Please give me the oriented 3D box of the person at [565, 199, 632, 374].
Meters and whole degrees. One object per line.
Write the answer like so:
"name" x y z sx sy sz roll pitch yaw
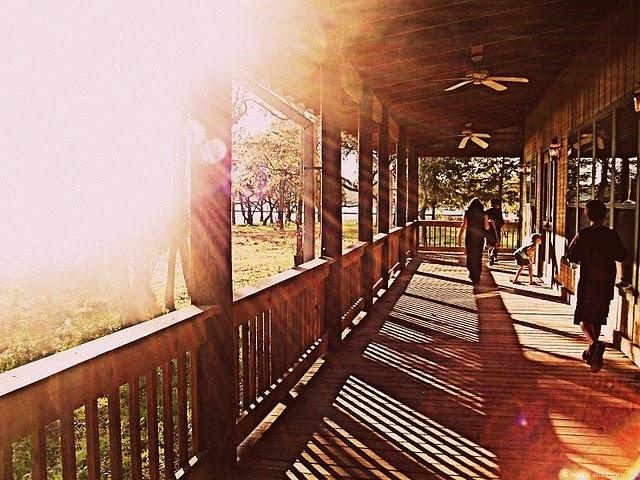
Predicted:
"person" 3.097 0.501 4.966 0.585 1.868 0.585 -6 2 10

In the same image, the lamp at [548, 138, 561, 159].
"lamp" 4.700 -1.823 8.961 0.210 0.372 0.265 -6 2 18

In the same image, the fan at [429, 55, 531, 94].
"fan" 2.751 -2.815 8.059 1.253 0.524 1.241 -3 13 -11

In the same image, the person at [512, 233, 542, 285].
"person" 4.896 0.407 10.647 0.661 1.159 2.228 -6 3 26

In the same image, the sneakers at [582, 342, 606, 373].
"sneakers" 2.915 1.232 4.849 0.146 0.434 0.272 1 -6 10

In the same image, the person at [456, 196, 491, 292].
"person" 3.443 0.049 9.992 0.633 1.391 1.416 -6 2 19
